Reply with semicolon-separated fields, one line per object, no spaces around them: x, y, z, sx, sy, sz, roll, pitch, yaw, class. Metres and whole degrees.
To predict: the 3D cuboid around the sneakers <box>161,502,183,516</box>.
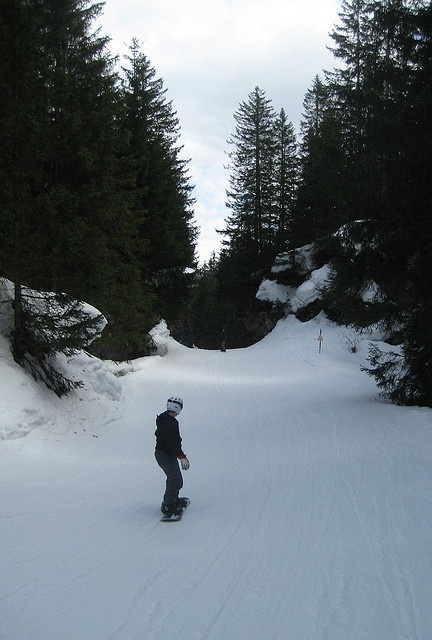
-0.579;2.521;6.652;0.281;0.155;0.255;1;1;-5;sneakers

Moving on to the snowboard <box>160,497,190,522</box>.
-0.551;2.530;6.777;0.133;0.199;0.444;0;-2;7;snowboard

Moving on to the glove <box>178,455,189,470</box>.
-0.414;1.913;6.674;0.141;0.220;0.067;-1;11;20;glove

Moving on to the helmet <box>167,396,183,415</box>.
-0.577;1.206;7.091;0.198;0.267;0.256;6;1;36;helmet
